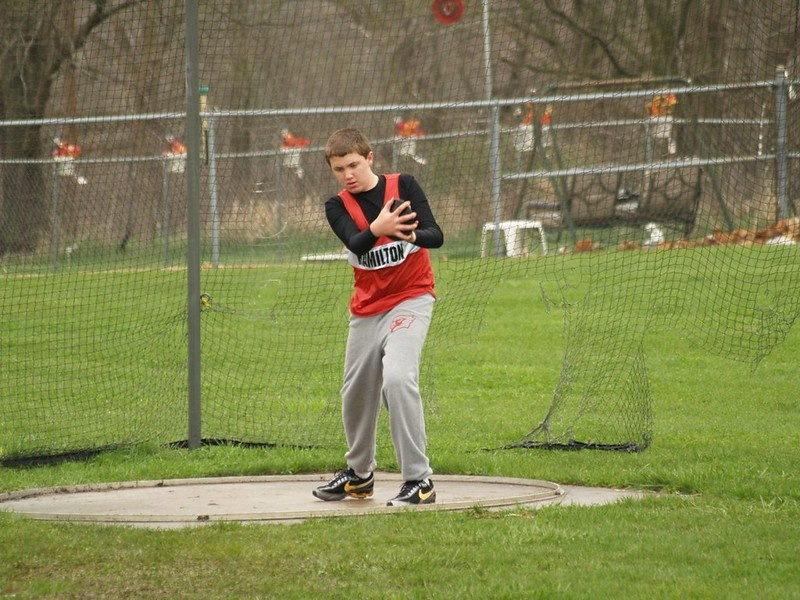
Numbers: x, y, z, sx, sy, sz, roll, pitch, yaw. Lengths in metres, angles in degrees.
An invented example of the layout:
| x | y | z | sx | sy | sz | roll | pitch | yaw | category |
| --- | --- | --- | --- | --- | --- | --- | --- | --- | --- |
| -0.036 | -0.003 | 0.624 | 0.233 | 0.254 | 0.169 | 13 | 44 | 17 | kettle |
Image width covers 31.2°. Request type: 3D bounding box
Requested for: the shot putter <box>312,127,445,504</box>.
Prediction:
| x | y | z | sx | sy | sz | roll | pitch | yaw | category |
| --- | --- | --- | --- | --- | --- | --- | --- | --- | --- |
| -0.158 | 0.135 | 12.611 | 1.052 | 3.327 | 0.672 | -2 | 1 | 12 | shot putter |

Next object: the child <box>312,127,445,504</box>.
| x | y | z | sx | sy | sz | roll | pitch | yaw | category |
| --- | --- | --- | --- | --- | --- | --- | --- | --- | --- |
| -0.157 | 0.135 | 12.612 | 1.050 | 3.327 | 0.661 | -2 | 1 | 13 | child |

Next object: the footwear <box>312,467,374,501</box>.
| x | y | z | sx | sy | sz | roll | pitch | yaw | category |
| --- | --- | --- | --- | --- | --- | --- | --- | --- | --- |
| -0.499 | 1.690 | 13.030 | 0.623 | 0.323 | 0.226 | 2 | -1 | -11 | footwear |

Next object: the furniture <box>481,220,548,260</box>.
| x | y | z | sx | sy | sz | roll | pitch | yaw | category |
| --- | --- | --- | --- | --- | --- | --- | --- | --- | --- |
| 1.373 | -0.774 | 17.182 | 0.661 | 0.362 | 0.511 | -2 | -1 | -21 | furniture |

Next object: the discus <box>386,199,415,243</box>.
| x | y | z | sx | sy | sz | roll | pitch | yaw | category |
| --- | --- | --- | --- | --- | --- | --- | --- | --- | --- |
| 0.009 | -0.703 | 12.452 | 0.238 | 0.367 | 0.515 | -2 | 1 | 0 | discus |

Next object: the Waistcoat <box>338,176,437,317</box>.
| x | y | z | sx | sy | sz | roll | pitch | yaw | category |
| --- | --- | --- | --- | --- | --- | --- | --- | --- | --- |
| -0.164 | -0.488 | 12.707 | 0.681 | 1.138 | 0.598 | -13 | 15 | -12 | Waistcoat |
